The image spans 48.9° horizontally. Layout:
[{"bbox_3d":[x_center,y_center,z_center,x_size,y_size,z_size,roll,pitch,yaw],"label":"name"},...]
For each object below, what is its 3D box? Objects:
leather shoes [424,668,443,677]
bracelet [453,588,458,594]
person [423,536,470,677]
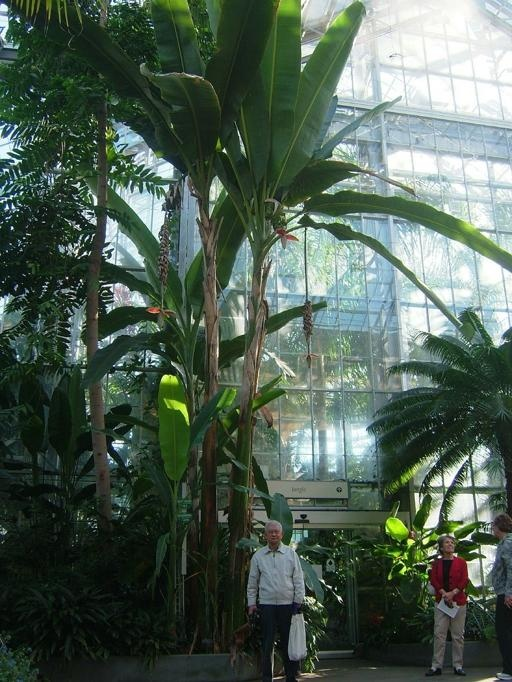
[{"bbox_3d":[1.520,2.826,4.815,0.238,0.093,0.079,25,-36,-33],"label":"leather shoes"},{"bbox_3d":[1.732,2.150,4.863,0.044,0.044,0.010,-2,-6,-21],"label":"bracelet"},{"bbox_3d":[1.682,2.329,4.973,0.376,1.151,0.505,-4,-12,19],"label":"person"}]
